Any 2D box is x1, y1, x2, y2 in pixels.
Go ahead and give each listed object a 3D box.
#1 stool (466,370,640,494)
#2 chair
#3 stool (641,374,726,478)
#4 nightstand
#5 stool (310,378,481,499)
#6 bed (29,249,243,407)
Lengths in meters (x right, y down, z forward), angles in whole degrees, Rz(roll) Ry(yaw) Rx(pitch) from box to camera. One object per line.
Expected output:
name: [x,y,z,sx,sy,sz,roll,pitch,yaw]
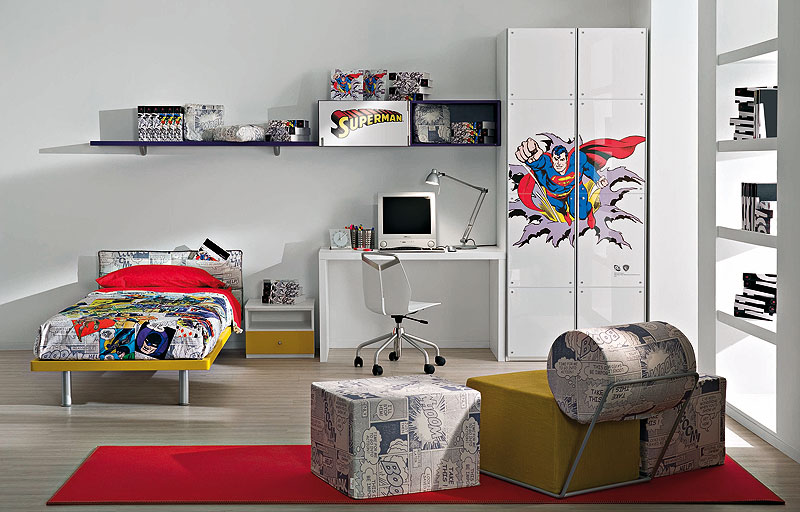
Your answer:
stool: [0.966,0.962,3.659,0.736,0.437,0.720,-1,3,-32]
chair: [-0.021,0.501,5.858,0.824,1.092,0.943,0,8,0]
stool: [1.648,1.013,3.634,0.730,0.595,0.224,-1,2,-18]
nightstand: [-1.110,0.789,6.453,0.972,0.513,0.894,0,-6,-10]
stool: [-0.026,1.015,3.635,0.745,0.439,0.723,2,-3,-22]
bed: [-2.244,0.574,5.523,1.457,0.883,1.974,2,9,-13]
